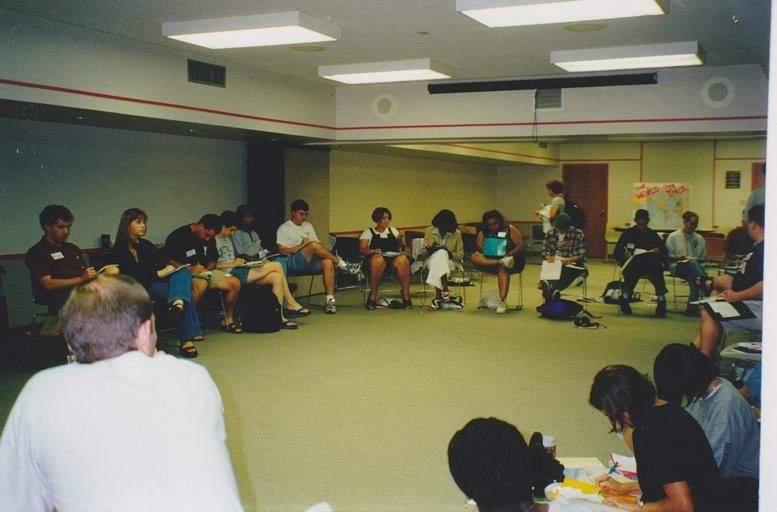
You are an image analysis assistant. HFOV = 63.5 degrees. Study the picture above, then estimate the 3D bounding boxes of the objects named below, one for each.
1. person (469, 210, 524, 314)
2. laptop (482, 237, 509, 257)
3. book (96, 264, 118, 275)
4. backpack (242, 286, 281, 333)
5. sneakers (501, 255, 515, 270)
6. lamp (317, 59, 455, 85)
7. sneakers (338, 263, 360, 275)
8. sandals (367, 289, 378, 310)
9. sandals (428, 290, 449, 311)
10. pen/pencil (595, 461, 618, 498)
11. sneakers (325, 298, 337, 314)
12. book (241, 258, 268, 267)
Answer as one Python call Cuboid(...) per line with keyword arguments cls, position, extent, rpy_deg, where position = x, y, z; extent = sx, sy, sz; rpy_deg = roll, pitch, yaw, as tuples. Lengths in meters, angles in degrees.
Cuboid(cls="person", position=(1.521, 0.042, 8.974), extent=(0.700, 1.336, 0.812), rpy_deg=(7, 14, 27))
Cuboid(cls="laptop", position=(1.516, -0.157, 9.098), extent=(0.450, 0.378, 0.248), rpy_deg=(1, 2, 26))
Cuboid(cls="book", position=(-2.607, 0.119, 5.810), extent=(0.120, 0.062, 0.087), rpy_deg=(-13, -5, 37))
Cuboid(cls="backpack", position=(-1.608, 0.646, 7.782), extent=(0.443, 0.513, 0.387), rpy_deg=(-3, 13, -16))
Cuboid(cls="sneakers", position=(1.691, 0.077, 8.823), extent=(0.163, 0.165, 0.197), rpy_deg=(-4, 6, 8))
Cuboid(cls="lamp", position=(-0.037, -2.285, 7.752), extent=(1.440, 0.232, 0.792), rpy_deg=(8, 14, 30))
Cuboid(cls="sneakers", position=(-0.581, 0.192, 8.991), extent=(0.219, 0.090, 0.164), rpy_deg=(-7, -11, 37))
Cuboid(cls="sandals", position=(-0.232, 0.591, 9.044), extent=(0.167, 0.265, 0.383), rpy_deg=(0, 12, -3))
Cuboid(cls="sandals", position=(0.762, 0.592, 8.973), extent=(0.412, 0.277, 0.200), rpy_deg=(-9, 16, -39))
Cuboid(cls="pen/pencil", position=(1.394, 1.433, 4.012), extent=(0.028, 0.022, 0.192), rpy_deg=(32, 50, 21))
Cuboid(cls="sneakers", position=(-0.811, 0.720, 8.821), extent=(0.110, 0.120, 0.272), rpy_deg=(1, -14, -7))
Cuboid(cls="book", position=(-1.667, 0.073, 7.925), extent=(0.285, 0.083, 0.290), rpy_deg=(-2, 12, -13))
